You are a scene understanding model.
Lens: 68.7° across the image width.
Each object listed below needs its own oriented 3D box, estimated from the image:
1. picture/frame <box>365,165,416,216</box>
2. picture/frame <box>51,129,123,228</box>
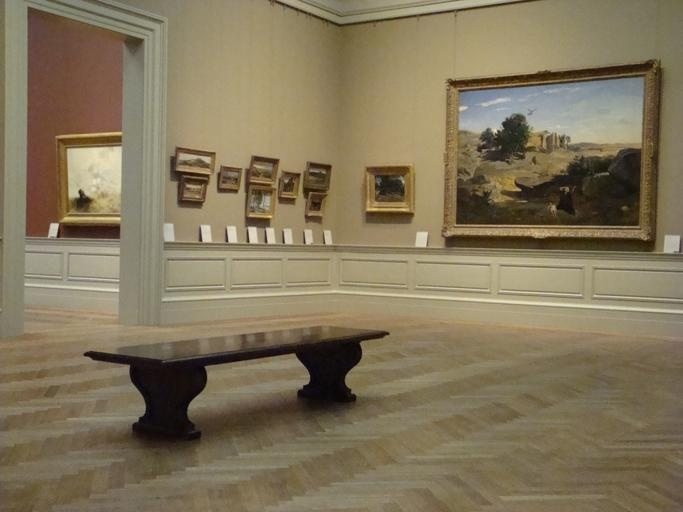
[{"bbox_3d":[1.030,-1.363,10.267,1.104,1.056,0.153,0,-1,22],"label":"picture/frame"},{"bbox_3d":[-4.918,-1.507,9.721,2.049,1.685,0.209,4,6,24],"label":"picture/frame"}]
